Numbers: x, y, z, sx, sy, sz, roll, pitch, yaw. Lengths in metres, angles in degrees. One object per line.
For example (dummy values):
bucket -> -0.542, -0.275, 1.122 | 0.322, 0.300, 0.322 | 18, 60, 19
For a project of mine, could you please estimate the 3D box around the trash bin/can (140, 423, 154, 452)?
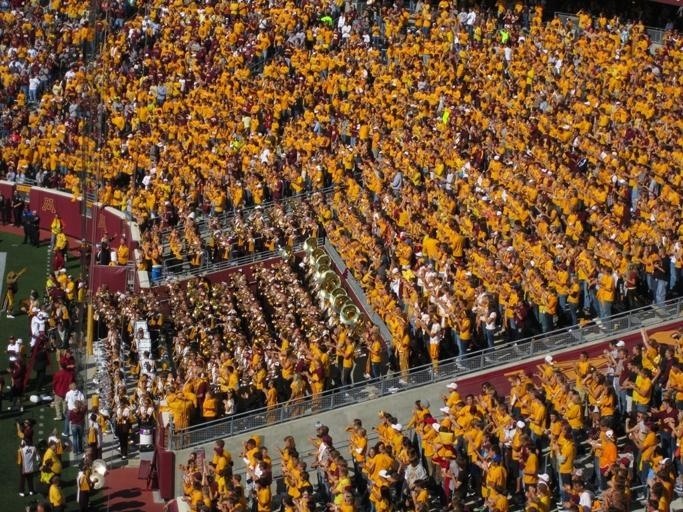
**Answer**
trash bin/can -> -5.594, 5.330, 48.552 | 0.410, 0.870, 0.876 | -5, 62, -7
